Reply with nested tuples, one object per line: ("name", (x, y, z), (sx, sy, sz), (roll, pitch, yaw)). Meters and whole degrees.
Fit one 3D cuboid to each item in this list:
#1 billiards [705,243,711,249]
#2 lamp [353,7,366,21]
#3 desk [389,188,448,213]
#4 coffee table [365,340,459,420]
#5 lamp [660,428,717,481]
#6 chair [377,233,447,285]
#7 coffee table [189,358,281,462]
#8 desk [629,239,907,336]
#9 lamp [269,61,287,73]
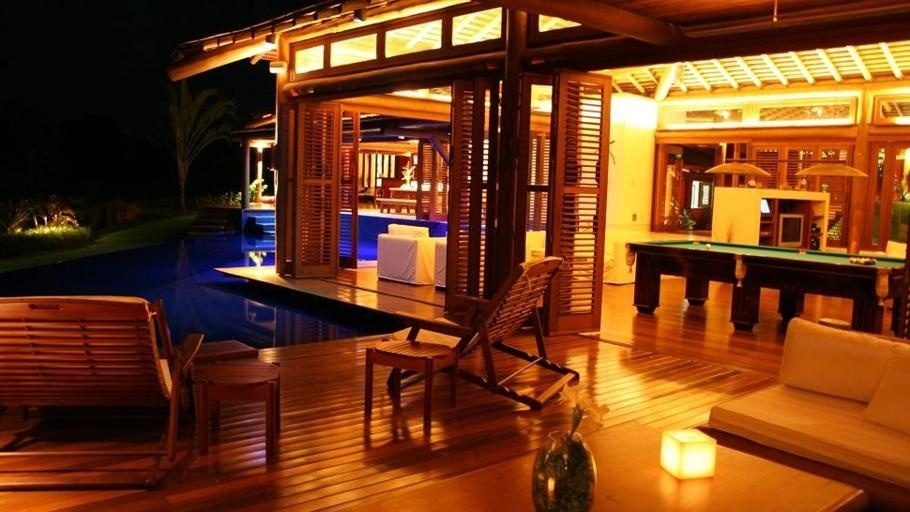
("billiards", (4.100, -0.162, 10.507), (0.076, 0.080, 0.073), (7, 21, 17))
("lamp", (-1.603, -4.049, 10.927), (0.183, 0.211, 0.307), (-2, 1, -10))
("desk", (-1.444, -1.964, 22.711), (1.701, 0.876, 4.765), (-1, 7, -10))
("coffee table", (-0.416, 1.184, 7.018), (0.971, 0.672, 0.859), (4, 4, 33))
("lamp", (1.893, 1.623, 5.415), (0.426, 0.351, 0.399), (-1, 4, -31))
("chair", (-0.756, 0.043, 12.347), (1.501, 0.972, 0.949), (7, 11, 44))
("coffee table", (-2.210, 1.524, 6.486), (0.979, 0.742, 0.924), (1, 5, 0))
("desk", (5.032, 0.253, 9.920), (1.734, 0.862, 3.125), (-7, 10, -43))
("lamp", (-3.433, -3.699, 12.606), (0.339, 0.242, 0.593), (-2, 7, -14))
